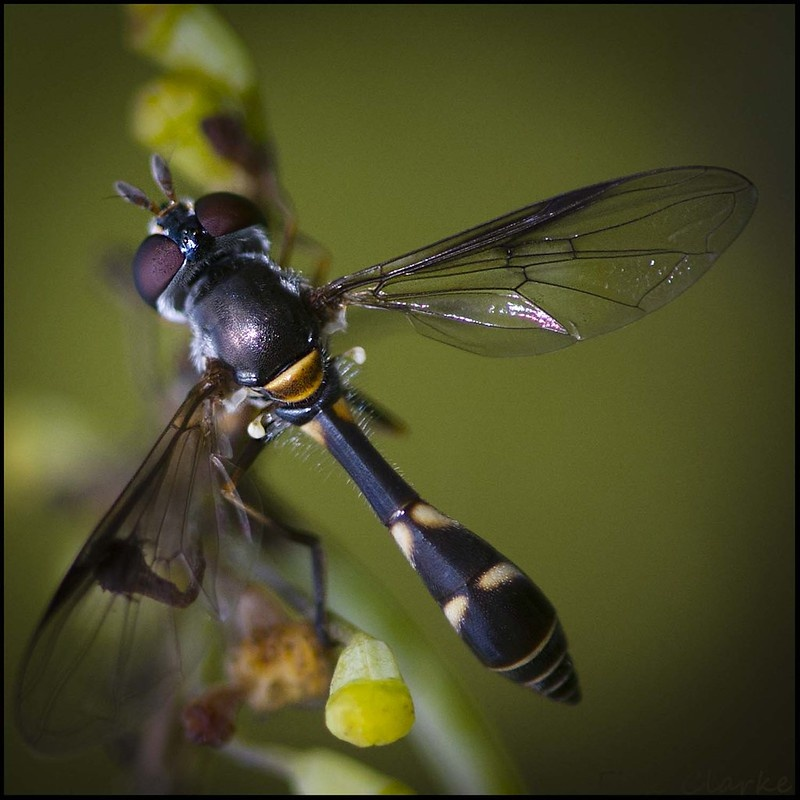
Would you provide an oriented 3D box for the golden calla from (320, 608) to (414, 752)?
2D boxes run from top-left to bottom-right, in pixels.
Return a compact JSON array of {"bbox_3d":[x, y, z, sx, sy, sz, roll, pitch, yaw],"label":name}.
[{"bbox_3d":[-0.038,0.296,0.947,0.066,0.135,0.058,1,-67,-11],"label":"golden calla"}]

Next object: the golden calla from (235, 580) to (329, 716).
[{"bbox_3d":[-0.136,0.281,1.009,0.111,0.101,0.081,22,-58,-16],"label":"golden calla"}]
